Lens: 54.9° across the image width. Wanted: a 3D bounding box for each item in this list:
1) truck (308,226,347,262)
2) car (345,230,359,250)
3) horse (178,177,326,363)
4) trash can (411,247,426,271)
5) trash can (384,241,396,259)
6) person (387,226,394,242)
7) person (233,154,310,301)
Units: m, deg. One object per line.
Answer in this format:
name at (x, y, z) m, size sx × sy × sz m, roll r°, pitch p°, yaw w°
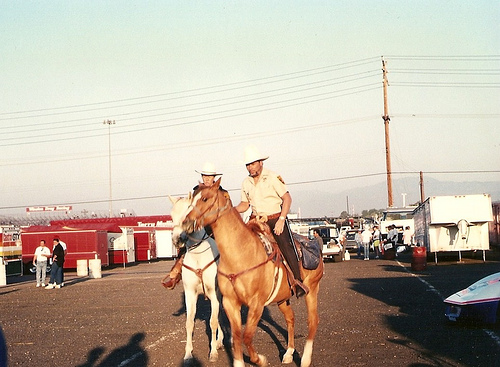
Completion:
truck at (5.753, 4.446, 36.417) m, size 3.329 × 3.388 × 6.267 m, roll -1°, pitch -5°, yaw 8°
car at (10.466, 5.852, 49.591) m, size 1.209 × 1.323 × 2.567 m, roll -1°, pitch 12°, yaw 7°
horse at (0.201, 1.685, 8.456) m, size 1.413 × 3.416 × 3.620 m, roll -4°, pitch -5°, yaw 19°
trash can at (8.398, 3.765, 24.039) m, size 0.684 × 1.200 × 0.493 m, roll -5°, pitch -5°, yaw 19°
trash can at (10.004, 4.751, 34.501) m, size 0.762 × 0.806 × 1.461 m, roll -6°, pitch -40°, yaw 10°
person at (10.007, 3.614, 34.501) m, size 0.382 × 1.104 × 0.752 m, roll -1°, pitch -5°, yaw -17°
person at (0.271, 0.863, 9.114) m, size 1.105 × 3.306 × 1.047 m, roll -9°, pitch 6°, yaw 16°
